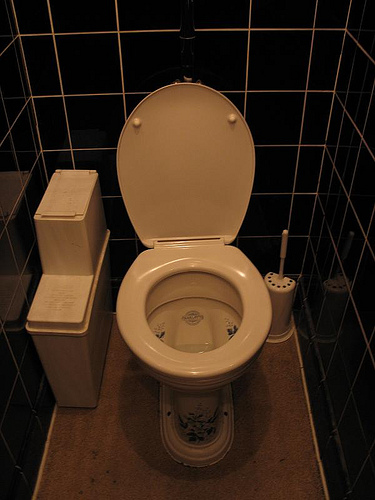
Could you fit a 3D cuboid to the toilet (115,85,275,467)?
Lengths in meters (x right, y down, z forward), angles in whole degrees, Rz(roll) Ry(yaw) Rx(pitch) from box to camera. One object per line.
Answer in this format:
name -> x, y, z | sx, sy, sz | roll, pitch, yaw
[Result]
toilet -> 0.009, 0.034, 0.931 | 0.375, 0.596, 0.500 | -4, 40, -4
